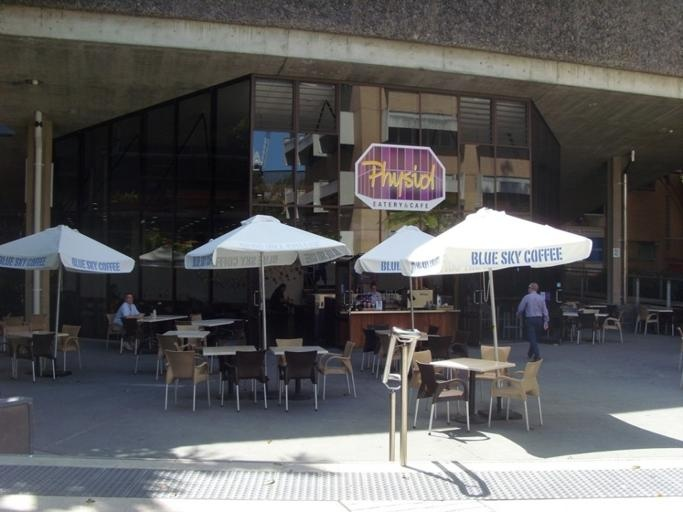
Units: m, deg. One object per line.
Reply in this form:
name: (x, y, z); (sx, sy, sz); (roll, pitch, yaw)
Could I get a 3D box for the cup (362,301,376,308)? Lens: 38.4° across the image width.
cup: (0.829, 1.376, 28.538); (0.255, 0.156, 0.253); (0, 0, 0)

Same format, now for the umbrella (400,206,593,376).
umbrella: (3.100, 0.780, 21.857); (3.470, 2.500, 3.334); (-5, 8, -14)

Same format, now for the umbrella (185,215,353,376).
umbrella: (-1.794, 0.580, 23.588); (3.895, 3.021, 3.016); (0, -2, -29)

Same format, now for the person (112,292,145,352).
person: (-5.891, 1.825, 27.543); (0.874, 1.448, 0.643); (1, 3, 10)
